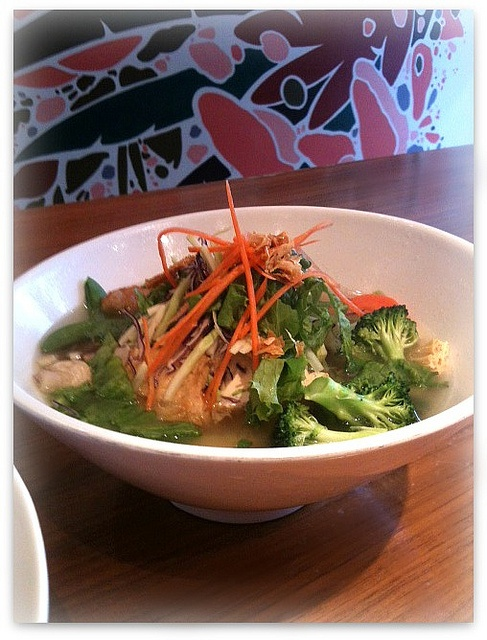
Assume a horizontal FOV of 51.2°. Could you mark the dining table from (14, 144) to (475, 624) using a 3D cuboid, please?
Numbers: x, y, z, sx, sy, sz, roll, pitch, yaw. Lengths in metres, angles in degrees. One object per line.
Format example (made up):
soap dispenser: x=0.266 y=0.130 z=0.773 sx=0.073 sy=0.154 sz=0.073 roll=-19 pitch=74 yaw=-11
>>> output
dining table: x=0.023 y=0.096 z=0.947 sx=0.852 sy=0.773 sz=0.547 roll=-5 pitch=18 yaw=-8

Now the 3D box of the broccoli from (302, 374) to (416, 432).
broccoli: x=0.177 y=0.133 z=0.799 sx=0.157 sy=0.060 sz=0.088 roll=16 pitch=13 yaw=8

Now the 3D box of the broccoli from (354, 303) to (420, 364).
broccoli: x=0.262 y=0.033 z=0.980 sx=0.098 sy=0.098 sz=0.104 roll=-37 pitch=-16 yaw=8

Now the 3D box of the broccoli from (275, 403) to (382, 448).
broccoli: x=0.120 y=0.164 z=0.733 sx=0.148 sy=0.064 sz=0.090 roll=3 pitch=10 yaw=26
